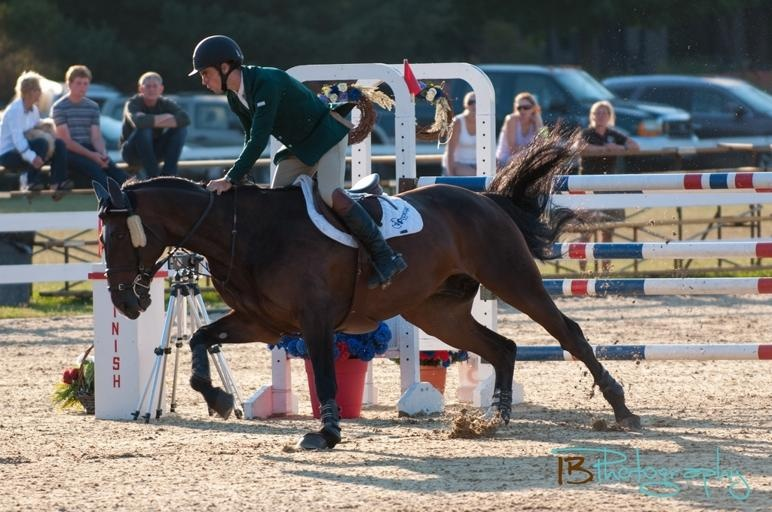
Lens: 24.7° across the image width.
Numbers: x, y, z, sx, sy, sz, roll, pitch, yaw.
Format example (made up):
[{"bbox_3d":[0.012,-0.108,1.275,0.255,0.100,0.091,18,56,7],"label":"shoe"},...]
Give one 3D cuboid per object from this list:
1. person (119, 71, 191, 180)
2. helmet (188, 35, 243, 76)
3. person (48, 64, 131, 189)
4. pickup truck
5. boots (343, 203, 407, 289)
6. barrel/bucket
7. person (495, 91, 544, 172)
[{"bbox_3d":[-3.495,-1.864,26.685,0.996,1.715,1.173,-4,-22,2],"label":"person"},{"bbox_3d":[-2.005,-2.421,21.169,0.598,0.447,0.332,0,4,-4],"label":"helmet"},{"bbox_3d":[-4.408,-1.822,26.018,0.761,1.953,1.456,-1,0,-29],"label":"person"},{"bbox_3d":[2.370,-2.318,27.875,6.648,1.423,1.478,0,-8,-6],"label":"pickup truck"},{"bbox_3d":[-0.132,-0.061,21.165,0.514,1.201,0.341,-27,-19,-38],"label":"boots"},{"bbox_3d":[-0.582,1.644,22.279,0.628,1.006,0.689,-1,-6,0],"label":"barrel/bucket"},{"bbox_3d":[2.133,-1.792,27.340,0.858,1.545,0.683,10,-20,-13],"label":"person"}]
